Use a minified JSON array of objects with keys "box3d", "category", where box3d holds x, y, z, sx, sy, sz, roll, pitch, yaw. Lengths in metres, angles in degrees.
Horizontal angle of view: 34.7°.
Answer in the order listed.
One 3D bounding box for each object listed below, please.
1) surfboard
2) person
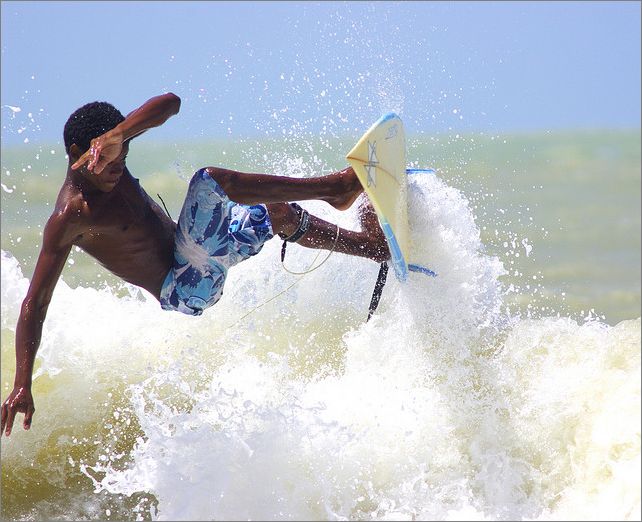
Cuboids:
[{"box3d":[0.560,-0.821,9.289,0.555,1.442,3.785,19,6,2],"category":"surfboard"},{"box3d":[-1.085,-0.227,7.795,3.074,1.475,0.896,-21,38,-21],"category":"person"}]
